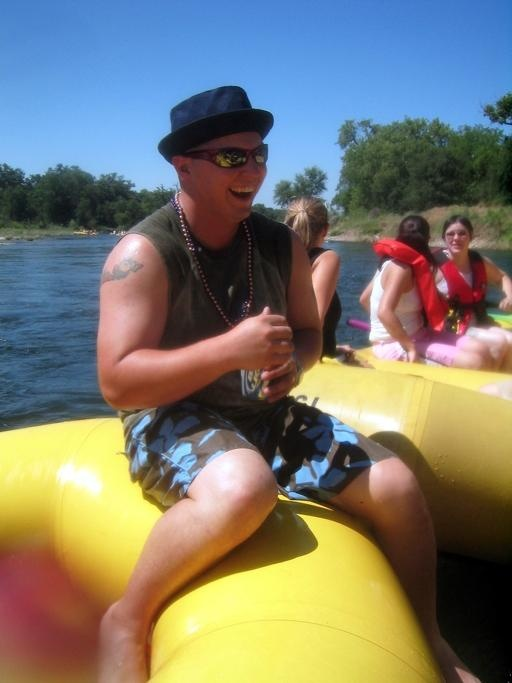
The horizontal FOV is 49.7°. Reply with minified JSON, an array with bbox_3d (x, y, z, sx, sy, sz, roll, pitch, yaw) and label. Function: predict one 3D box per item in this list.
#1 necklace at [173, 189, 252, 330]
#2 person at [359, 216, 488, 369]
[{"bbox_3d":[-0.165,-0.211,1.568,0.246,0.365,0.077,-8,-18,-35],"label":"necklace"},{"bbox_3d":[1.133,-0.224,3.757,1.004,1.168,0.740,5,9,25],"label":"person"}]
